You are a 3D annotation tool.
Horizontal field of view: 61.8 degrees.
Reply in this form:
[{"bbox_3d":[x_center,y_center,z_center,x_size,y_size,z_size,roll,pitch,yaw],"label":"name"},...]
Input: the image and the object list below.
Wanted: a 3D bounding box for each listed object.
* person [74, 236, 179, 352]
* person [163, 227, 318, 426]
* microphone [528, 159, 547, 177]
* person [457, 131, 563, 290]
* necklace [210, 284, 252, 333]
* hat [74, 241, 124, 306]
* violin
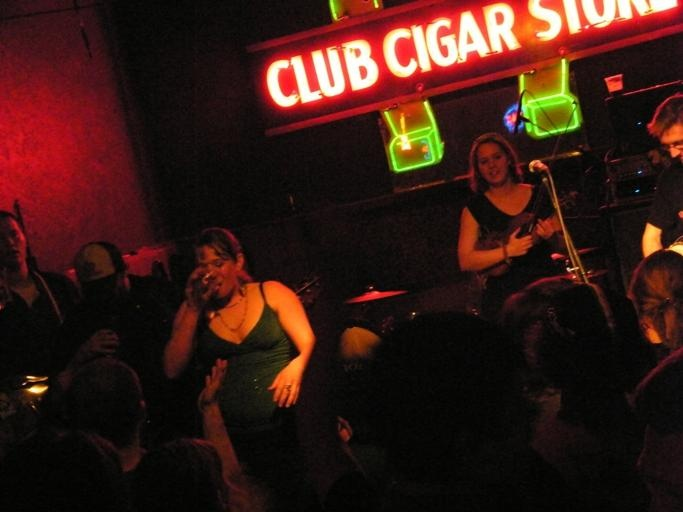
[{"bbox_3d":[-1.544,0.292,4.210,0.796,0.872,0.682,-8,-2,9],"label":"person"},{"bbox_3d":[-0.726,0.531,3.903,0.875,1.165,0.731,-26,-32,17],"label":"person"},{"bbox_3d":[1.490,-0.669,4.311,0.137,0.107,0.118,-10,8,17],"label":"microphone"},{"bbox_3d":[1.174,-0.312,4.123,0.626,1.209,0.337,0,-10,9],"label":"person"},{"bbox_3d":[-0.707,0.354,3.774,0.215,0.289,0.070,-16,-23,14],"label":"necklace"},{"bbox_3d":[-1.682,0.108,3.999,0.149,0.396,0.368,-8,8,29],"label":"hat"},{"bbox_3d":[1.277,-0.249,4.381,0.809,0.423,0.243,-37,-3,-1],"label":"violin"}]
